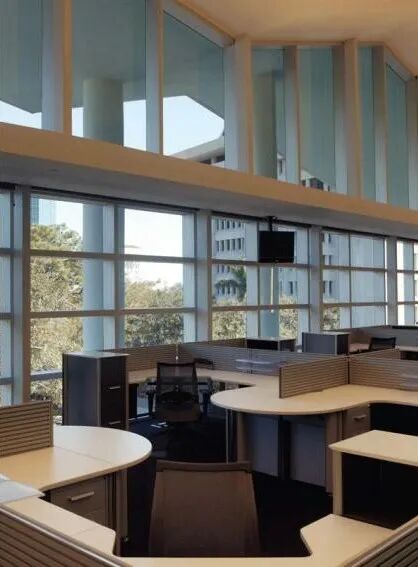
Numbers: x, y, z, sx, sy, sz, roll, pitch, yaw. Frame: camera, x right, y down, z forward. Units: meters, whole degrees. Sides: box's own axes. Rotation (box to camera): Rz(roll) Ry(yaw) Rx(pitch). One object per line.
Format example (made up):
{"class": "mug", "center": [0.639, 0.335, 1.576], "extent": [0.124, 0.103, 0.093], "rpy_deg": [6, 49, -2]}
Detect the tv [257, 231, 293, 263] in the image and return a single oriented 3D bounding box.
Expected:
{"class": "tv", "center": [1.043, -0.563, 8.546], "extent": [0.478, 0.433, 0.159], "rpy_deg": [0, 0, -13]}
